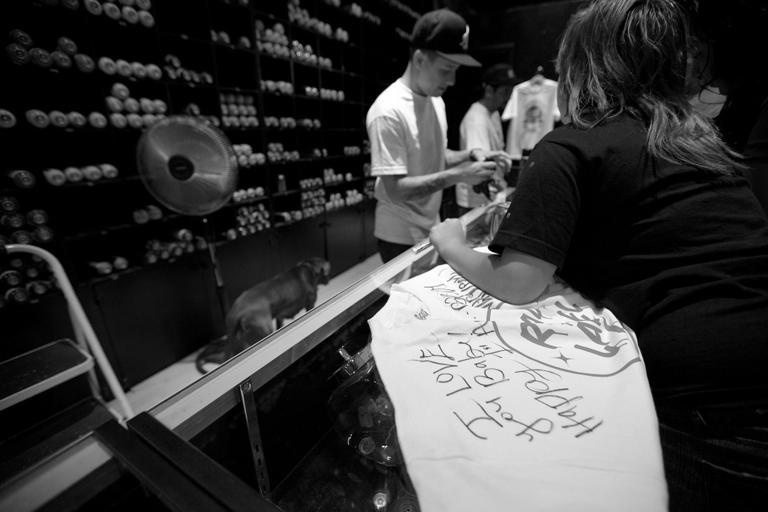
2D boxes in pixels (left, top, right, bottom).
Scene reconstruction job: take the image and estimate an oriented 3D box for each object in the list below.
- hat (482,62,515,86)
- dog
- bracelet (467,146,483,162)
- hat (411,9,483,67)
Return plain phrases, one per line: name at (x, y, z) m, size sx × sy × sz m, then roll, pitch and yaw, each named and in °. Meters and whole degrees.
hat at (0.890, -1.397, 3.784) m, size 0.217 × 0.095 × 0.170 m, roll -2°, pitch 27°, yaw 30°
dog at (-0.710, 0.288, 2.736) m, size 0.209 × 0.421 × 0.784 m, roll 33°, pitch 49°, yaw 25°
bracelet at (0.494, -0.553, 2.657) m, size 0.059 × 0.049 × 0.213 m, roll 12°, pitch 18°, yaw 0°
hat at (0.297, -1.097, 2.535) m, size 0.335 × 0.210 × 0.255 m, roll 27°, pitch 43°, yaw 18°
